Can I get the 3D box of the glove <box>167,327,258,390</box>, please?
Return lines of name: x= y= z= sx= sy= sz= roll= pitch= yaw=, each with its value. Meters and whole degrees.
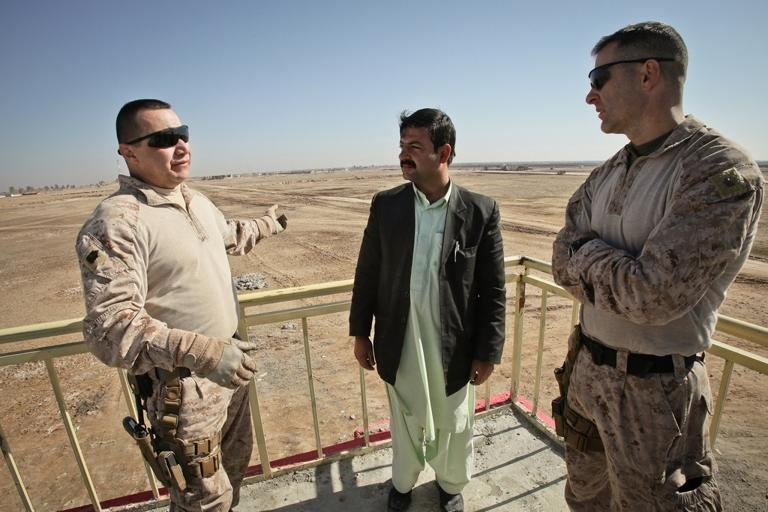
glove: x=-1.106 y=0.670 z=2.821 sx=0.509 sy=0.358 sz=0.246 roll=13 pitch=-2 yaw=-17
